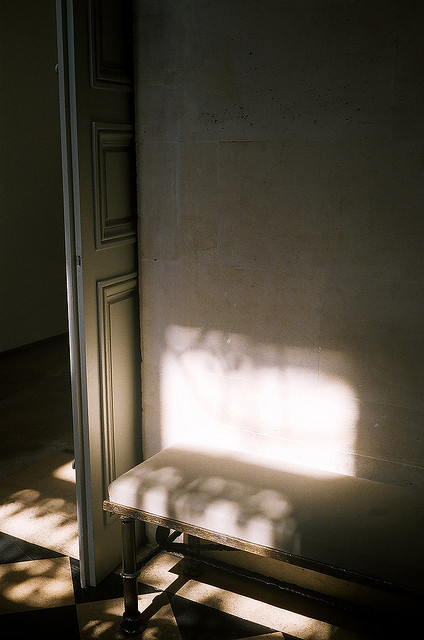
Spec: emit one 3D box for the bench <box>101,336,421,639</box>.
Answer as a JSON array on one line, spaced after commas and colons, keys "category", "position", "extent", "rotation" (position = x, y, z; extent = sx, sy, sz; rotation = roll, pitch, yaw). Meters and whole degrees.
[{"category": "bench", "position": [0.162, 0.498, 1.799], "extent": [0.809, 0.262, 0.685], "rotation": [7, -71, 24]}]
